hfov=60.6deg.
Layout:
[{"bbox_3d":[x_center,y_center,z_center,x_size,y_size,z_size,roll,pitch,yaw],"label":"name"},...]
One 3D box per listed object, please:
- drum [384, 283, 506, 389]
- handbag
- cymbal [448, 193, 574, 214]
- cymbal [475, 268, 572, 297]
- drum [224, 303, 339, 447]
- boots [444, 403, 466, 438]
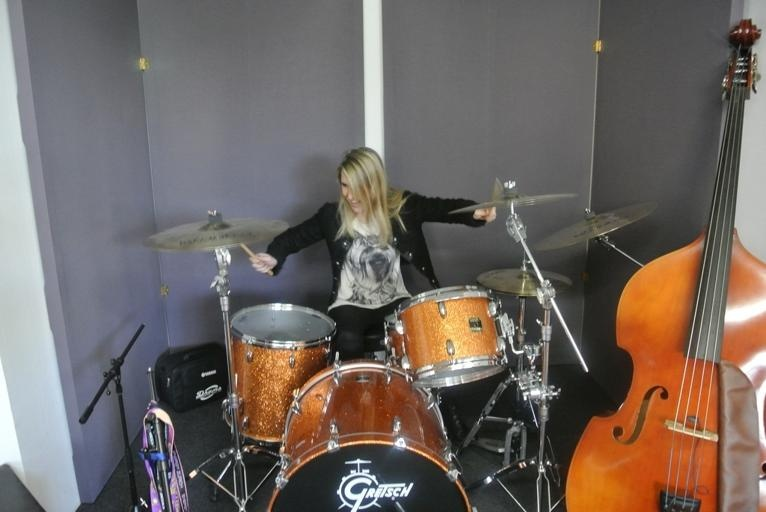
[{"bbox_3d":[0.324,0.439,3.368,0.516,0.331,0.532,-14,-31,-8],"label":"drum"},{"bbox_3d":[-1.276,0.791,4.468,0.627,0.475,0.347,-4,5,-39],"label":"handbag"},{"bbox_3d":[0.697,-0.289,3.543,0.532,0.093,0.415,-7,10,-16],"label":"cymbal"},{"bbox_3d":[0.834,0.156,3.789,0.278,0.071,0.285,3,7,-14],"label":"cymbal"},{"bbox_3d":[-0.633,0.733,3.761,0.493,0.536,0.531,4,-2,33],"label":"drum"},{"bbox_3d":[0.431,1.033,4.033,0.073,0.195,0.137,-30,4,-13],"label":"boots"}]
